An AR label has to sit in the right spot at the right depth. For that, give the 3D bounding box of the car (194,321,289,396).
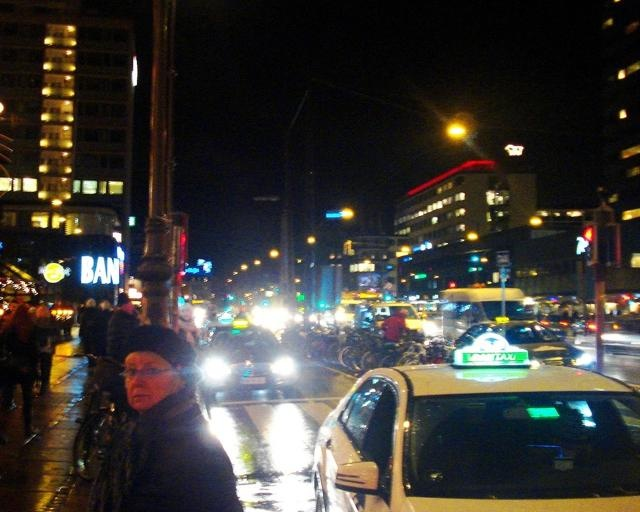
[{"bbox_3d":[-1.664,2.243,14.676,1.701,1.061,2.682,1,-8,-16],"label":"car"}]

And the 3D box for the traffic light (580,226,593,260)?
[{"bbox_3d":[4.967,-0.276,12.080,0.187,0.461,0.387,8,-17,20],"label":"traffic light"}]

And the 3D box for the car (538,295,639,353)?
[{"bbox_3d":[14.544,3.506,34.940,3.896,2.468,8.405,-1,-1,39],"label":"car"}]

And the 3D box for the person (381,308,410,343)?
[{"bbox_3d":[2.204,2.020,18.896,0.837,0.999,0.616,7,-6,39],"label":"person"}]

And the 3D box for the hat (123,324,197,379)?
[{"bbox_3d":[-0.948,0.546,3.954,0.380,0.156,0.277,19,12,8],"label":"hat"}]

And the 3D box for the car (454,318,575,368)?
[{"bbox_3d":[4.418,1.835,14.339,1.860,1.150,3.723,1,-8,-6],"label":"car"}]

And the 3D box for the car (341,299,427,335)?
[{"bbox_3d":[2.334,2.312,25.199,1.629,1.166,2.477,4,-8,-32],"label":"car"}]

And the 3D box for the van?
[{"bbox_3d":[5.528,1.703,21.726,1.523,1.144,2.440,0,-6,-13],"label":"van"}]
